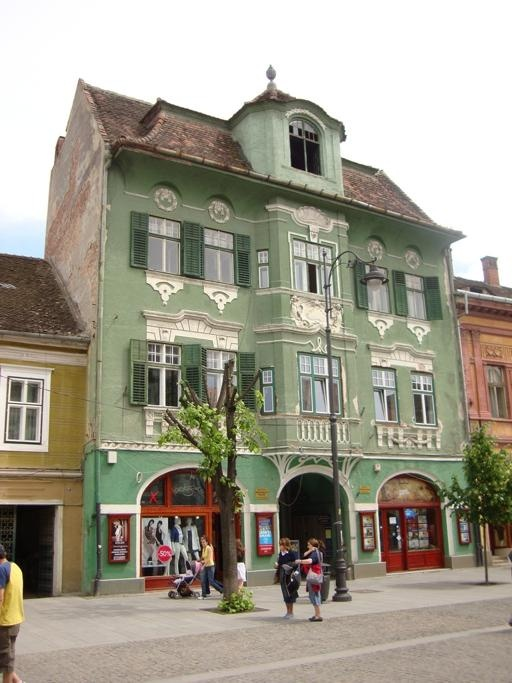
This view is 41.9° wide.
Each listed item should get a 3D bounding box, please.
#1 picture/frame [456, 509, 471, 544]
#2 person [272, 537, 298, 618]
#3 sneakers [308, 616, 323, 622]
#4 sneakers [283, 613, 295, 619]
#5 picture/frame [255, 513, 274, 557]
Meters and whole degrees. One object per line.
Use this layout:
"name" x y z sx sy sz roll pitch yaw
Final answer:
"picture/frame" 7.759 7.100 24.922 0.793 1.009 0.240 12 -22 -42
"person" 0.581 4.621 13.015 0.447 1.475 1.059 -3 -16 0
"sneakers" 1.091 5.137 12.360 0.246 0.087 0.295 -3 -15 4
"sneakers" 0.606 5.229 12.706 0.099 0.100 0.244 12 -19 -31
"picture/frame" 0.237 5.906 20.297 0.207 1.250 0.700 -16 -21 39
